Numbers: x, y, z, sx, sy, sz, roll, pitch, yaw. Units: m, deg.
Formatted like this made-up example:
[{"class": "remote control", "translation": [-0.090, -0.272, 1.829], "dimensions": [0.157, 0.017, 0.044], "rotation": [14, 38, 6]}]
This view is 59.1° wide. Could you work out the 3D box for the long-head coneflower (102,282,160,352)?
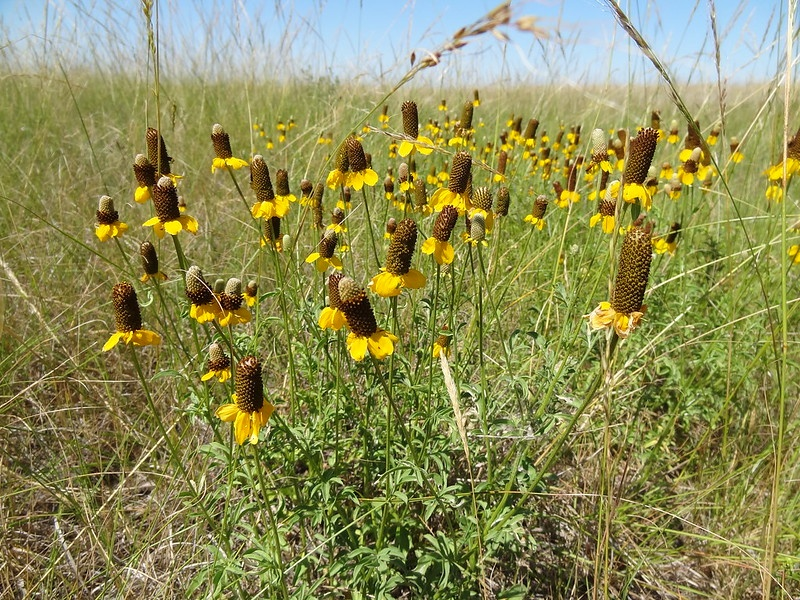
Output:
[{"class": "long-head coneflower", "translation": [-2.085, 0.149, 5.449], "dimensions": [0.349, 0.478, 0.399], "rotation": [17, 30, 31]}]
